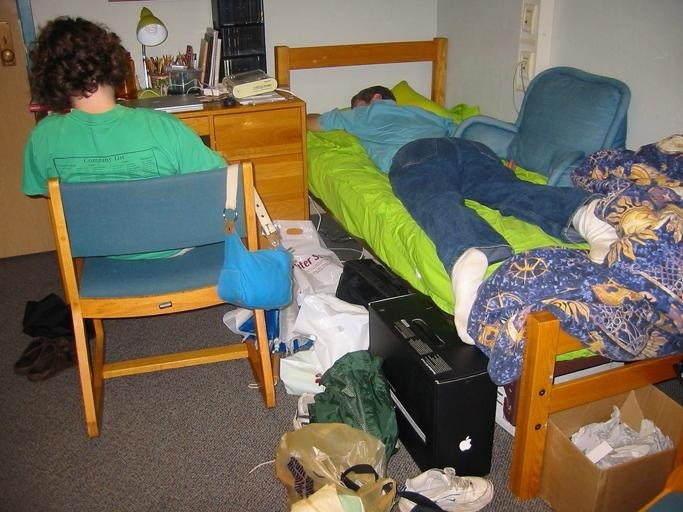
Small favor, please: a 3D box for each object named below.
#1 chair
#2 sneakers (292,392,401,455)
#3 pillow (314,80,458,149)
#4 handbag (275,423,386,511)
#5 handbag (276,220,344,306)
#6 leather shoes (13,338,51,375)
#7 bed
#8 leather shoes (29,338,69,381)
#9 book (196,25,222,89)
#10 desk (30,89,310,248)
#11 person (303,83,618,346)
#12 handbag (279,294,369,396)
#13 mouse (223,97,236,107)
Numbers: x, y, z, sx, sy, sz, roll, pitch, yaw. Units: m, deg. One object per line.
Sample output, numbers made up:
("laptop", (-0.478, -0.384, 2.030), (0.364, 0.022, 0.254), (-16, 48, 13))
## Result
("chair", (-0.674, 0.196, 2.052), (0.739, 1.011, 0.685), (-7, 43, -15))
("sneakers", (-0.055, 0.577, 1.961), (0.255, 0.093, 0.258), (11, 58, -30))
("pillow", (0.205, -0.774, 3.090), (0.525, 0.172, 0.521), (-23, 32, -28))
("handbag", (-0.048, 0.611, 1.819), (0.318, 0.327, 0.224), (-8, -3, 11))
("handbag", (-0.158, 0.001, 2.545), (0.294, 0.117, 0.399), (-6, 44, -25))
("leather shoes", (-1.332, 0.438, 2.391), (0.089, 0.067, 0.184), (7, 34, 7))
("bed", (0.630, -0.335, 2.765), (1.322, 1.331, 2.760), (-13, 26, -24))
("leather shoes", (-1.247, 0.440, 2.366), (0.096, 0.071, 0.180), (18, 33, 19))
("book", (-0.748, -1.116, 3.092), (0.037, 0.363, 0.278), (-6, 41, -26))
("desk", (-0.786, -0.667, 3.110), (1.138, 1.070, 0.568), (-7, 33, -11))
("person", (0.398, -0.308, 2.511), (0.668, 0.268, 1.301), (-16, 41, -16))
("handbag", (-0.069, 0.334, 2.170), (0.320, 0.418, 0.163), (11, -5, 8))
("mouse", (-0.605, -0.825, 2.931), (0.069, 0.047, 0.069), (-11, 45, -19))
